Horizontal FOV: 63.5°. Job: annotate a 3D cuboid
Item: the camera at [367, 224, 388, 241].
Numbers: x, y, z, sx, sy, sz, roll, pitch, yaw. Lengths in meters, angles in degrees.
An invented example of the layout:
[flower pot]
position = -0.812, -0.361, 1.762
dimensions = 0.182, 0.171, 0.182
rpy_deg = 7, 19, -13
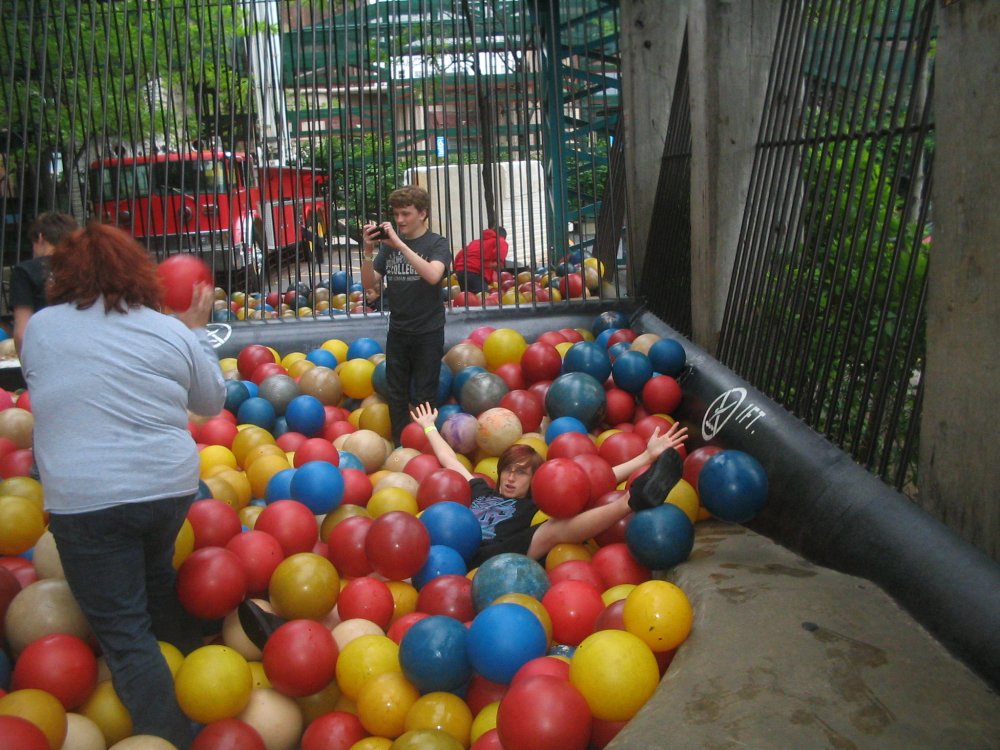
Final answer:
[camera]
position = -0.742, -0.859, 4.904
dimensions = 0.083, 0.105, 0.057
rpy_deg = -1, 2, -8

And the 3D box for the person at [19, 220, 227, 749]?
[person]
position = -1.290, 0.364, 2.783
dimensions = 0.544, 1.695, 0.540
rpy_deg = 2, 18, 10

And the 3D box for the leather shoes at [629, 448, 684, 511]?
[leather shoes]
position = 0.660, 0.450, 3.488
dimensions = 0.284, 0.162, 0.116
rpy_deg = -43, -2, -17
